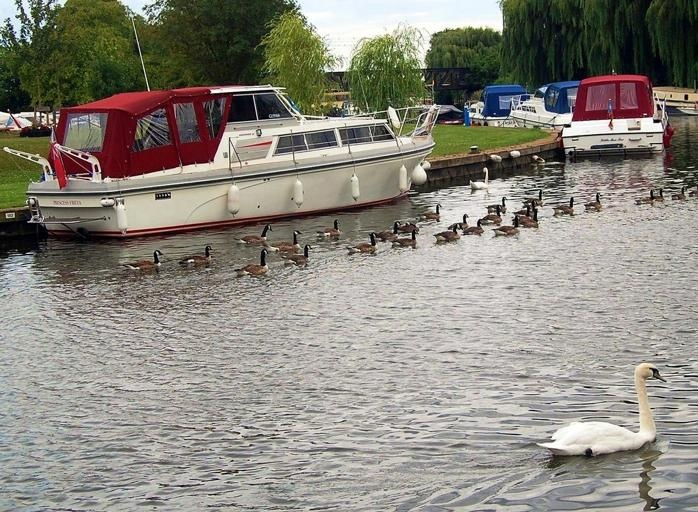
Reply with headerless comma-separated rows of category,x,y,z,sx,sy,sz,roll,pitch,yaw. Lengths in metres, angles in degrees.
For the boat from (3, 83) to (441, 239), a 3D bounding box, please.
boat,-5.232,-3.590,32.370,17.394,3.365,5.966,-9,18,-30
